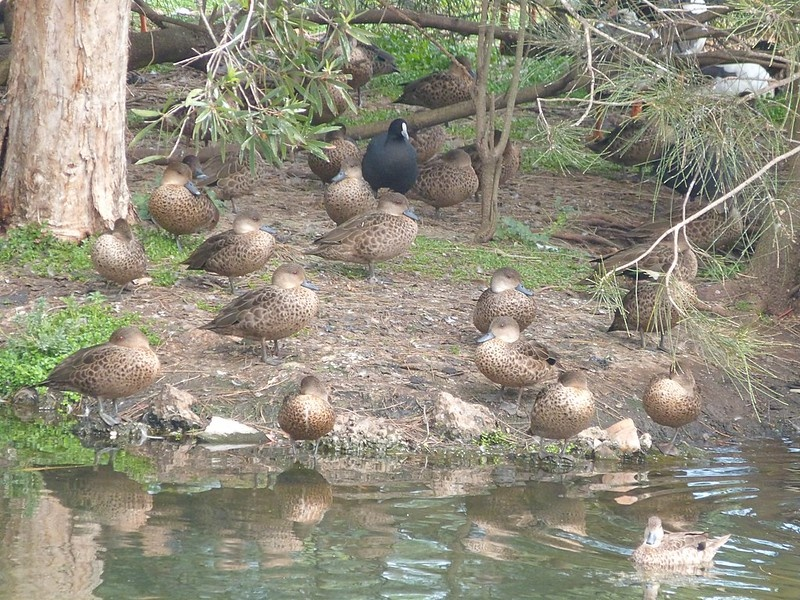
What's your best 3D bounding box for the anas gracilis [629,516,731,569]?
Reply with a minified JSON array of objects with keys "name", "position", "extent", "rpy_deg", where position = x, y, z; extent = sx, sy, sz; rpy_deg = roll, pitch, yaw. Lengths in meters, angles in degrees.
[{"name":"anas gracilis","position":[1.746,1.546,6.517],"extent":[0.639,0.287,0.289],"rpy_deg":[3,81,-14]}]
